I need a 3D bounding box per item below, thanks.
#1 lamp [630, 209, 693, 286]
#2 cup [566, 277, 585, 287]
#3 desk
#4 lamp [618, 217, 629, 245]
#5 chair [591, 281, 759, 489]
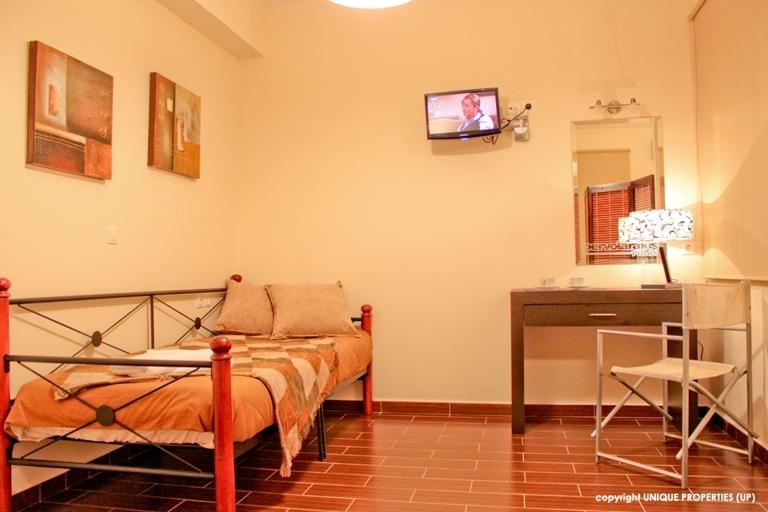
[{"bbox_3d":[2.220,-0.087,4.608,0.515,0.563,0.347,-7,11,-33],"label":"lamp"},{"bbox_3d":[1.567,0.214,4.750,0.105,0.067,0.075,0,0,6],"label":"cup"},{"bbox_3d":[1.747,0.821,4.526,1.259,0.940,0.460,0,-3,6],"label":"desk"},{"bbox_3d":[1.909,-0.202,4.647,0.059,0.192,0.125,1,9,15],"label":"lamp"},{"bbox_3d":[2.082,0.766,4.096,0.960,1.301,1.175,4,11,32],"label":"chair"}]
